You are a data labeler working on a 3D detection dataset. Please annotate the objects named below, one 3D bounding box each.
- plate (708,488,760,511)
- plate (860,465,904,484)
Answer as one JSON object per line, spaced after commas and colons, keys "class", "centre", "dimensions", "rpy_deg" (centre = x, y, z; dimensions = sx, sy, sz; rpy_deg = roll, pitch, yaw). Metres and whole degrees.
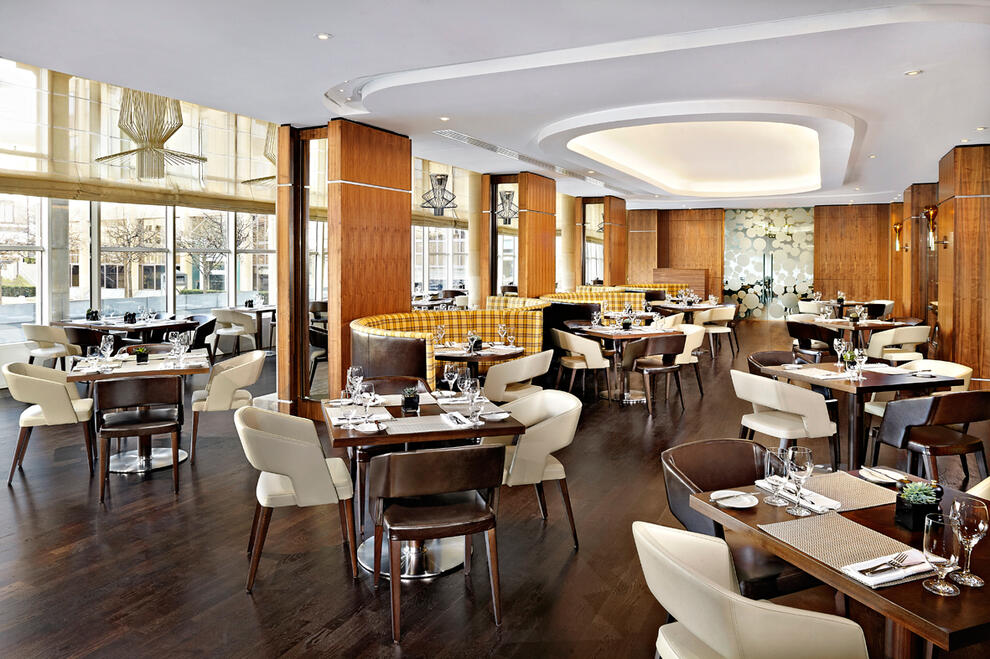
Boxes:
{"class": "plate", "centre": [1.292, 0.918, 3.427], "dimensions": [0.260, 0.034, 0.196], "rpy_deg": [-5, 12, -25]}
{"class": "plate", "centre": [2.247, 0.853, 3.703], "dimensions": [0.233, 0.029, 0.215], "rpy_deg": [8, 13, 32]}
